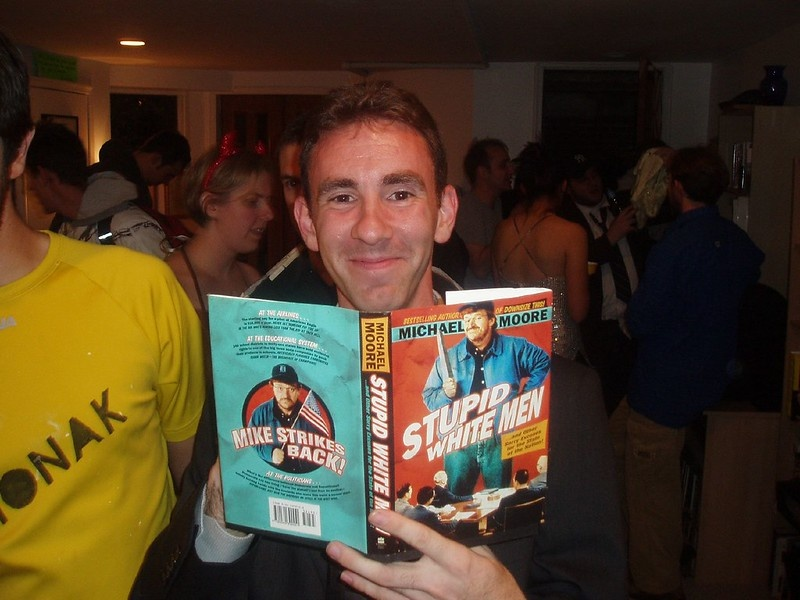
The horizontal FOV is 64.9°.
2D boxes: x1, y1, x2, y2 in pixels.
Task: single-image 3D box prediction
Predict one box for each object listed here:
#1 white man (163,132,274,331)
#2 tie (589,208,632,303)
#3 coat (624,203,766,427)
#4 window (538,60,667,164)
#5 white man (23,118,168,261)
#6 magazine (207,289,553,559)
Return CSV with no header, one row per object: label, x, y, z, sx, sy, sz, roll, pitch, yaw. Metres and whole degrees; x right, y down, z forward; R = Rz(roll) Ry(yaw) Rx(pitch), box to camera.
white man,-0.785,-0.317,2.698,0.456,0.814,0.555,8,13,-6
tie,1.220,-0.251,3.668,0.172,0.576,0.026,-18,1,-2
coat,1.312,0.084,2.837,0.558,0.989,0.226,3,11,14
window,1.969,-1.753,6.377,1.138,1.367,0.086,3,-13,8
white man,-1.970,-0.652,3.621,0.789,0.595,0.381,2,25,-46
magazine,-0.041,0.212,1.190,0.616,0.439,0.336,-2,4,8
